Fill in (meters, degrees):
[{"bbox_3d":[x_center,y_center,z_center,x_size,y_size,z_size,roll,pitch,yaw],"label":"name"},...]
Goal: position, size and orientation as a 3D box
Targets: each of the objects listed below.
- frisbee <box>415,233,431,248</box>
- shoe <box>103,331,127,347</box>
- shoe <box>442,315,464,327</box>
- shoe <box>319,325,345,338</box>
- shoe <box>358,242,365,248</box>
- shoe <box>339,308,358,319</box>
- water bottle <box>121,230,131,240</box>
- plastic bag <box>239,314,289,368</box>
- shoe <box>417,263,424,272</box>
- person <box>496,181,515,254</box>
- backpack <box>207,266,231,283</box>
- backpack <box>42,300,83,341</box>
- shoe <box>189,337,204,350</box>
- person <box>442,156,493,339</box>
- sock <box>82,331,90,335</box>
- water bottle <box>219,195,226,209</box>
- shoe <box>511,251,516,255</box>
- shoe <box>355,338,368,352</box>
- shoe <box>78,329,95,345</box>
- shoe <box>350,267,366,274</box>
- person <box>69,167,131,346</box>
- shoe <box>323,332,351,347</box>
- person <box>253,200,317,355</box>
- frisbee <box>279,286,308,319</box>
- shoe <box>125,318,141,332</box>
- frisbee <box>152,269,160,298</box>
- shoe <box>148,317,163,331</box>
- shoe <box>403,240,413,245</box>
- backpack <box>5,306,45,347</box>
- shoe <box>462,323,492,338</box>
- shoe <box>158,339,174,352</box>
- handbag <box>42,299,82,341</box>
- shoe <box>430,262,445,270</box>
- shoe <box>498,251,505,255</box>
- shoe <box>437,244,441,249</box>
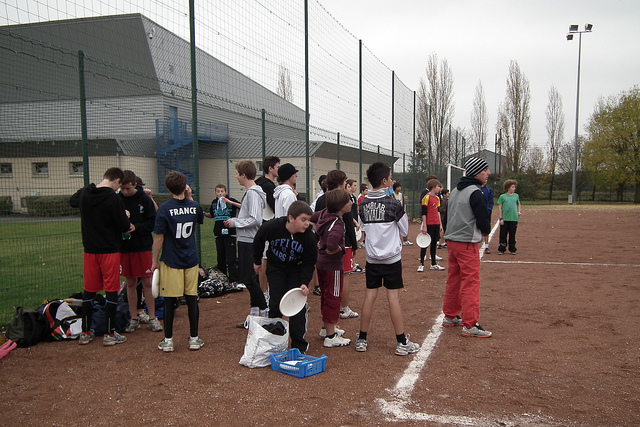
[{"bbox_3d":[2.367,0.601,11.869,0.344,0.383,0.094,14,-3,-4],"label":"frisbee"},{"bbox_3d":[-3.324,1.997,8.305,0.161,0.228,0.414,1,2,42],"label":"shoe"},{"bbox_3d":[2.344,1.874,9.060,0.369,0.204,0.152,-2,5,-5],"label":"shoe"},{"bbox_3d":[0.240,1.920,8.480,0.512,0.262,0.184,-3,1,12],"label":"shoe"},{"bbox_3d":[1.359,1.024,16.643,0.254,0.237,0.161,-9,12,-41],"label":"shoe"},{"bbox_3d":[0.519,1.846,9.510,0.410,0.287,0.155,-1,1,-12],"label":"shoe"},{"bbox_3d":[-3.251,0.371,8.578,0.094,0.181,0.093,-1,5,0],"label":"water bottle"},{"bbox_3d":[-0.783,1.964,7.853,0.548,0.743,0.832,-3,-9,44],"label":"plastic bag"},{"bbox_3d":[2.525,1.317,12.824,0.140,0.204,0.284,2,12,11],"label":"shoe"},{"bbox_3d":[5.608,0.063,15.314,0.537,2.218,0.756,4,13,21],"label":"person"},{"bbox_3d":[-2.146,1.275,10.848,0.416,0.202,0.295,31,2,-17],"label":"backpack"},{"bbox_3d":[-4.332,1.731,8.656,0.419,0.846,0.630,-10,15,-23],"label":"backpack"},{"bbox_3d":[-1.959,2.041,8.144,0.252,0.176,0.167,-7,14,-28],"label":"shoe"},{"bbox_3d":[2.534,0.540,8.713,0.813,2.904,1.119,3,12,14],"label":"person"},{"bbox_3d":[-3.808,1.943,8.324,0.103,0.047,0.036,-5,13,-21],"label":"sock"},{"bbox_3d":[-1.997,-0.234,10.459,0.049,0.228,0.150,1,3,37],"label":"water bottle"},{"bbox_3d":[5.774,1.151,15.234,0.129,0.033,0.275,4,13,18],"label":"shoe"},{"bbox_3d":[0.651,2.056,8.036,0.166,0.119,0.262,1,-5,4],"label":"shoe"},{"bbox_3d":[-3.802,2.019,8.390,0.116,0.151,0.309,1,4,11],"label":"shoe"},{"bbox_3d":[1.008,1.431,13.041,0.270,0.089,0.497,8,15,33],"label":"shoe"},{"bbox_3d":[-3.531,0.689,8.295,0.909,2.786,0.800,-5,13,-23],"label":"person"},{"bbox_3d":[0.276,2.035,8.306,0.448,0.229,0.170,0,0,-10],"label":"shoe"},{"bbox_3d":[-0.510,0.969,7.738,0.925,2.332,0.764,0,12,2],"label":"person"},{"bbox_3d":[-0.410,1.329,7.561,0.492,0.522,0.204,-11,16,-40],"label":"frisbee"},{"bbox_3d":[-3.227,1.904,8.838,0.119,0.209,0.342,7,14,32],"label":"shoe"},{"bbox_3d":[-2.589,1.103,8.072,0.105,0.430,0.207,-4,12,-14],"label":"frisbee"},{"bbox_3d":[-2.857,1.906,8.831,0.288,0.158,0.137,3,2,35],"label":"shoe"},{"bbox_3d":[3.083,1.001,17.895,0.328,0.113,0.415,2,13,12],"label":"shoe"},{"bbox_3d":[-4.833,1.897,8.478,0.570,0.656,0.485,-20,-6,11],"label":"backpack"},{"bbox_3d":[2.641,1.939,8.600,0.528,0.274,0.202,-1,2,5],"label":"shoe"},{"bbox_3d":[-2.442,2.069,8.052,0.282,0.161,0.146,1,12,5],"label":"shoe"},{"bbox_3d":[-4.298,1.786,8.507,0.324,0.627,0.535,-28,-4,6],"label":"handbag"},{"bbox_3d":[3.001,1.342,13.055,0.364,0.183,0.128,1,1,5],"label":"shoe"},{"bbox_3d":[5.411,1.149,15.254,0.163,0.085,0.233,3,13,17],"label":"shoe"},{"bbox_3d":[3.876,1.042,16.607,0.100,0.101,0.290,2,13,12],"label":"shoe"}]
